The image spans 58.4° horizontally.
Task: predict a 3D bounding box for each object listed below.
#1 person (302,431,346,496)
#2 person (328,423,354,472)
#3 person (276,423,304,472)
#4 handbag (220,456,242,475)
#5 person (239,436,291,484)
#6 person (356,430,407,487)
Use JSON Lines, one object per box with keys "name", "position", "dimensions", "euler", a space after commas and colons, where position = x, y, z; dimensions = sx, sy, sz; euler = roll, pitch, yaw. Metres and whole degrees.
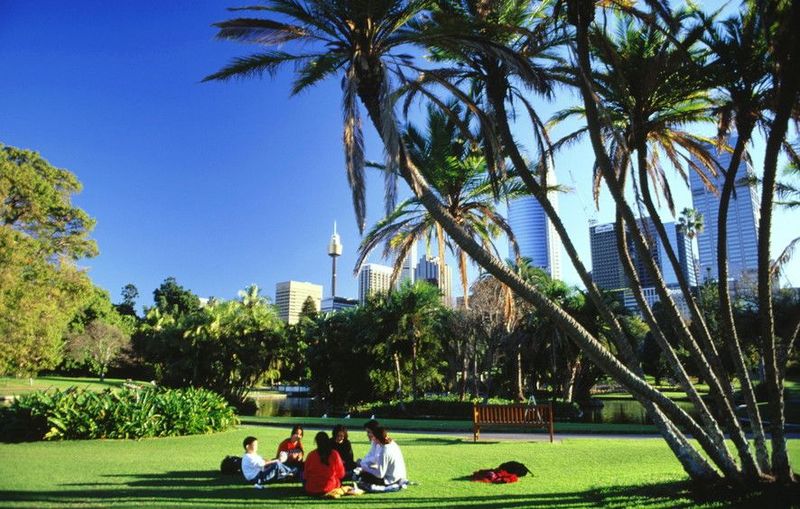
{"name": "person", "position": [-2.096, 5.800, 19.752], "dimensions": [1.099, 1.727, 0.452], "euler": [-1, -15, -9]}
{"name": "person", "position": [-1.758, 5.634, 20.725], "dimensions": [0.991, 1.351, 0.807], "euler": [2, 13, -11]}
{"name": "person", "position": [-3.114, 5.724, 21.186], "dimensions": [0.755, 1.336, 0.905], "euler": [10, 8, -24]}
{"name": "handbag", "position": [-4.958, 6.296, 21.228], "dimensions": [0.722, 0.576, 0.259], "euler": [-10, -16, 20]}
{"name": "person", "position": [-3.860, 5.914, 20.483], "dimensions": [1.235, 1.350, 0.401], "euler": [0, -15, -13]}
{"name": "person", "position": [-0.458, 5.736, 20.024], "dimensions": [1.305, 1.724, 0.367], "euler": [-3, -14, -1]}
